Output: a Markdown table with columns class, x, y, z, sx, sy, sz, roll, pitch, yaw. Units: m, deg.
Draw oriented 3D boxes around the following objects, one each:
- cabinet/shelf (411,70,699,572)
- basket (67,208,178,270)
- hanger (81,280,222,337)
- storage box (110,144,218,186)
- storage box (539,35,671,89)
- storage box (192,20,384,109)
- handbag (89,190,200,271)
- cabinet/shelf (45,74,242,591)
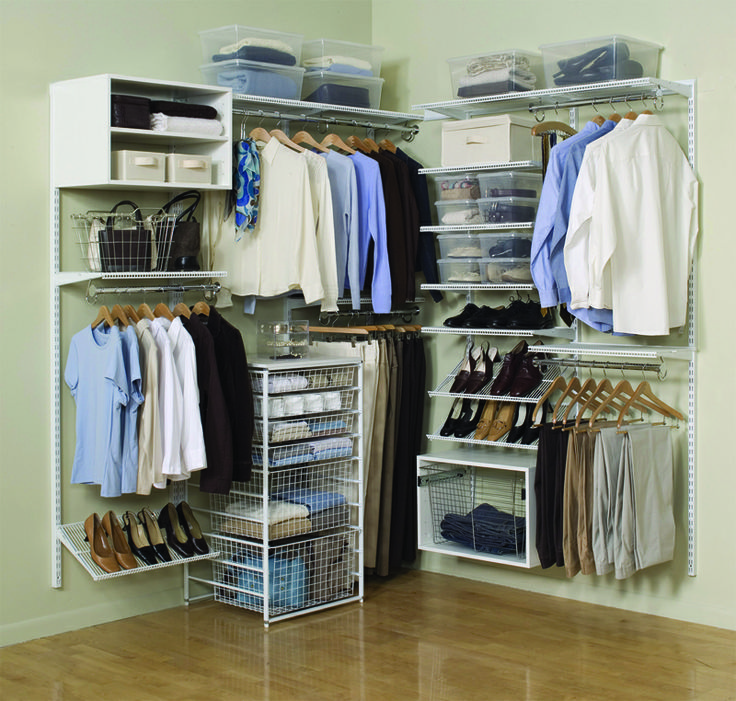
| class | x | y | z | sx | sy | sz | roll | pitch | yaw |
| --- | --- | --- | --- | --- | --- | --- | --- | --- | --- |
| cabinet/shelf | 1.093 | -0.191 | 4.391 | 0.569 | 2.319 | 1.317 | 7 | 9 | 40 |
| basket | -1.093 | -0.492 | 3.288 | 0.455 | 0.327 | 0.296 | -4 | 6 | -43 |
| hanger | -1.004 | -0.223 | 3.430 | 0.725 | 0.276 | 0.216 | -7 | 11 | -38 |
| storage box | -0.867 | -0.800 | 3.203 | 0.133 | 0.152 | 0.519 | 5 | 10 | 44 |
| storage box | 1.052 | -1.325 | 3.387 | 0.282 | 0.135 | 0.356 | -6 | 8 | -43 |
| storage box | -0.376 | -1.476 | 3.867 | 1.032 | 0.371 | 0.304 | -9 | 10 | -44 |
| handbag | -1.003 | -0.504 | 3.326 | 0.330 | 0.387 | 0.528 | 1 | 1 | 9 |
| cabinet/shelf | -1.034 | -0.077 | 3.359 | 0.920 | 2.238 | 0.530 | -6 | 8 | -31 |
